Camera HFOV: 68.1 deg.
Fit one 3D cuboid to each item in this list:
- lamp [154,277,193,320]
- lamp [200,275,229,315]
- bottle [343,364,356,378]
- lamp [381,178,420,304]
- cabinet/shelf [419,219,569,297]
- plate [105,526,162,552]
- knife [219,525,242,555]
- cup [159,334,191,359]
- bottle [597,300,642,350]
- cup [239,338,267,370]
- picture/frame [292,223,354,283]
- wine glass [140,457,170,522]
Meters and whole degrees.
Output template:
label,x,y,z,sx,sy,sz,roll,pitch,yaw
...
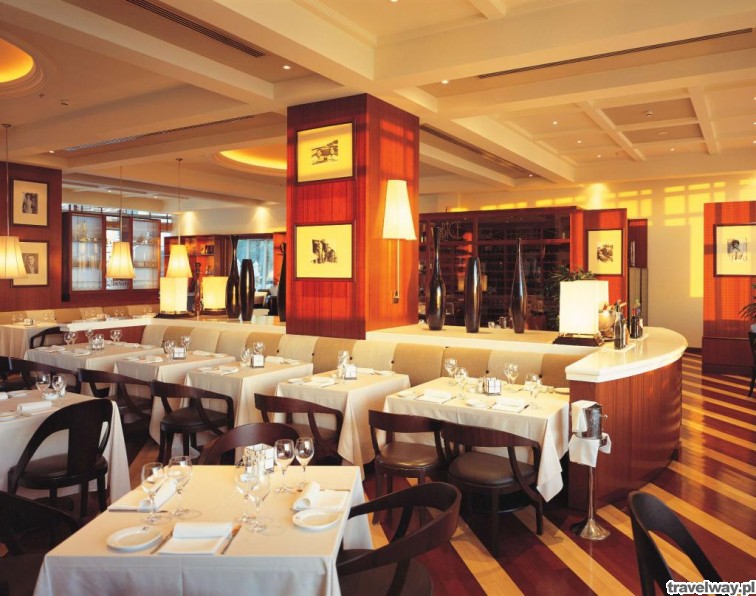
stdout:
label,x,y,z,sx,sy,sz,roll,pitch,yaw
lamp,-2.725,-0.042,7.443,0.340,0.468,0.248,-1,6,-11
lamp,-2.360,-0.038,8.020,0.347,0.573,1.455,-2,5,-17
bottle,-0.275,0.698,5.320,0.111,0.103,0.107,1,0,-5
lamp,0.241,-0.658,6.615,0.378,1.525,0.896,1,6,3
cabinet/shelf,2.245,-0.759,10.262,1.854,1.071,0.293,0,-4,11
plate,-1.098,1.086,2.527,0.234,0.030,0.185,-1,5,-11
knife,-0.667,1.088,2.504,0.035,0.017,0.127,1,21,15
cup,-2.573,0.611,7.123,0.345,0.330,0.221,2,0,16
bottle,2.495,0.279,5.708,0.304,0.381,1.050,-2,-4,26
cup,-1.339,0.623,6.071,0.404,0.388,0.270,-2,-3,29
picture/frame,-0.630,-0.557,6.700,0.801,0.627,0.053,0,-3,19
wine glass,-1.105,0.923,2.806,0.151,0.261,0.297,-2,6,-21
